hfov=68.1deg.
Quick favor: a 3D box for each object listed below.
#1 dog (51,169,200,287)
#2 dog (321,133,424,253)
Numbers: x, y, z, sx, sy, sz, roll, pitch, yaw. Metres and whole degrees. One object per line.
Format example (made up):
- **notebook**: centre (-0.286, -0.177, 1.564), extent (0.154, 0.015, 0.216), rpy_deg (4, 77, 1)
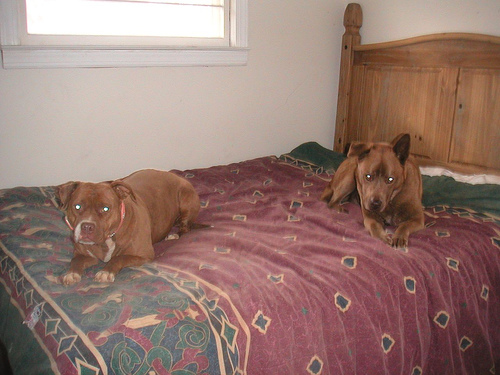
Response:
- **dog**: centre (-0.769, 0.192, 2.345), extent (0.469, 0.575, 1.091), rpy_deg (4, 15, 18)
- **dog**: centre (1.016, -0.044, 3.050), extent (0.709, 0.736, 1.373), rpy_deg (-1, 13, 3)
